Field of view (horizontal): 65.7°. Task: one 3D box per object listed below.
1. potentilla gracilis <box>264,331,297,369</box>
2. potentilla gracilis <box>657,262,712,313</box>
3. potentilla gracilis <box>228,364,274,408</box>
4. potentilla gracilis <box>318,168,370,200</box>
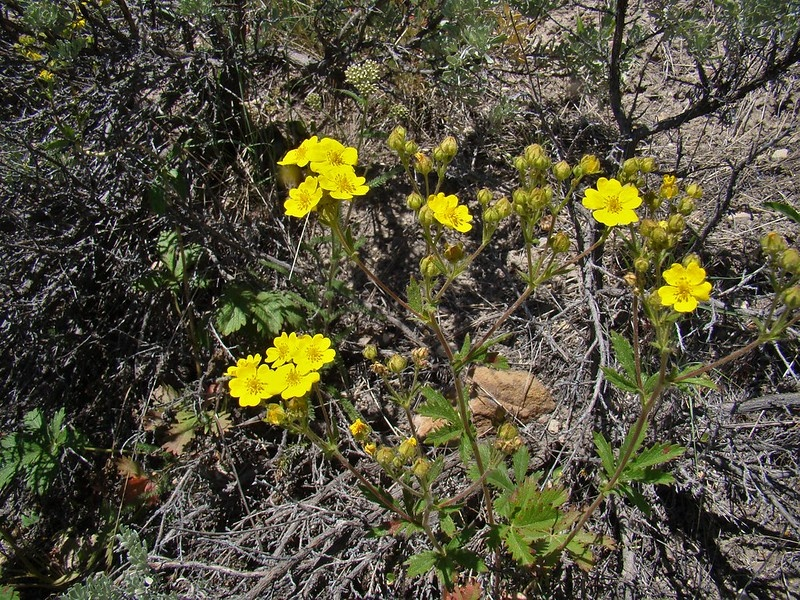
[{"bbox_3d":[-0.677,0.263,3.589,0.193,0.201,0.098,-27,-43,20],"label":"potentilla gracilis"},{"bbox_3d":[1.450,-0.060,3.156,0.235,0.255,0.239,1,-38,32],"label":"potentilla gracilis"},{"bbox_3d":[-0.821,0.502,3.500,0.312,0.266,0.166,-11,-44,42],"label":"potentilla gracilis"},{"bbox_3d":[-0.303,-0.650,3.471,0.212,0.208,0.108,26,-39,-11],"label":"potentilla gracilis"}]
